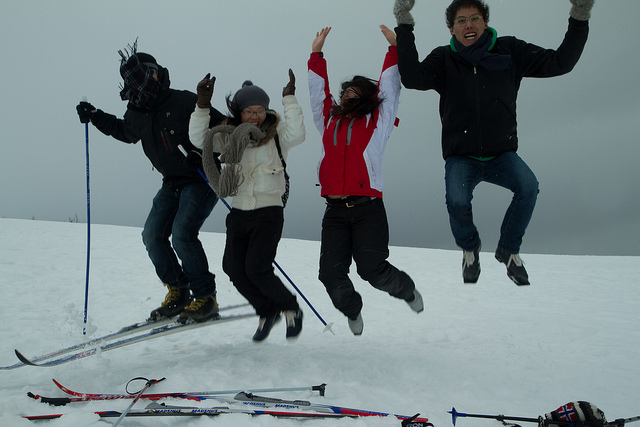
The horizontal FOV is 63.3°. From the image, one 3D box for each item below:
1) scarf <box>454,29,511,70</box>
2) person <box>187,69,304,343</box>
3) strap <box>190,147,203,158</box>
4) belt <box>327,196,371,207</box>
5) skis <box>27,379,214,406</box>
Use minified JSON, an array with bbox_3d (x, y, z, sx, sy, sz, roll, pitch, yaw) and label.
[{"bbox_3d":[2.119,-2.106,6.733,0.707,0.502,0.154,0,10,14],"label":"scarf"},{"bbox_3d":[-0.798,-0.047,7.027,1.138,3.555,0.598,-3,10,-3],"label":"person"},{"bbox_3d":[-1.717,-0.864,7.248,0.148,0.158,0.082,0,28,35],"label":"strap"},{"bbox_3d":[0.396,-0.149,6.802,0.545,0.135,0.110,-2,10,8],"label":"belt"},{"bbox_3d":[-2.468,2.272,6.545,1.795,0.215,0.263,1,6,-5],"label":"skis"}]
